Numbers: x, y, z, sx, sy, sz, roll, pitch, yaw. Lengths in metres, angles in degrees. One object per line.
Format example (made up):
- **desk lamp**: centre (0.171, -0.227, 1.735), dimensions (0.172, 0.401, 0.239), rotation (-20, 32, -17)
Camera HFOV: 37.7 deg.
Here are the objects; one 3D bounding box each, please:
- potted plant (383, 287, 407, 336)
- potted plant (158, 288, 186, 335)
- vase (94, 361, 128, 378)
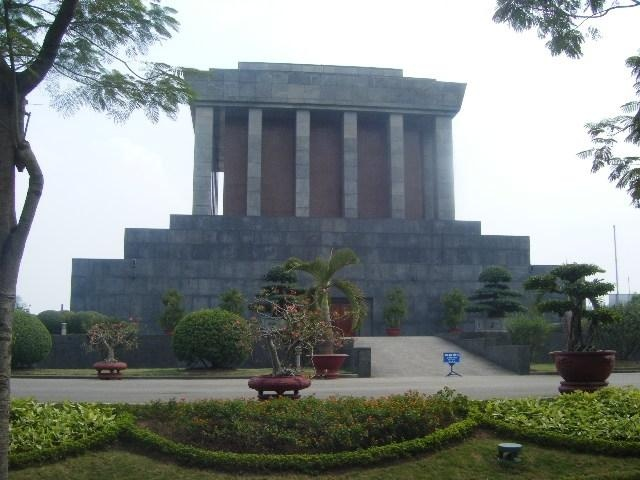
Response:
- **potted plant**: centre (3.831, 3.699, 47.884), dimensions (1.246, 2.680, 3.483), rotation (0, 5, 4)
- **potted plant**: centre (-6.865, 3.253, 43.818), dimensions (1.154, 2.000, 1.152), rotation (4, 10, -4)
- **vase**: centre (-7.178, 4.488, 32.331), dimensions (0.757, 0.375, 0.766), rotation (-1, -8, 5)
